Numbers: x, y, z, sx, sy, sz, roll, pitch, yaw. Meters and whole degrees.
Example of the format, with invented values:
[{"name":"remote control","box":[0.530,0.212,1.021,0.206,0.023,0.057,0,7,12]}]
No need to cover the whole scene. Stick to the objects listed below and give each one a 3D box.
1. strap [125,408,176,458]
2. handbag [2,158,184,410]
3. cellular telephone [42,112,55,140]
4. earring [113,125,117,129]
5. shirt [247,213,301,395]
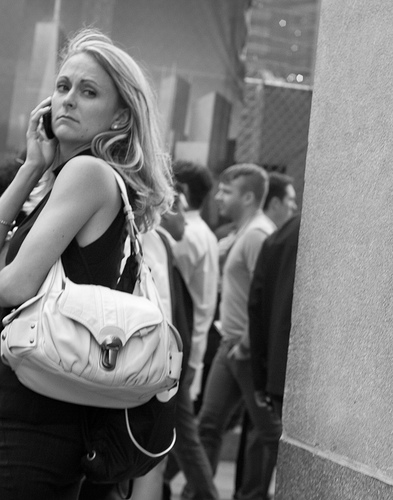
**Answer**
[{"name":"strap","box":[-0.106,0.333,1.174,0.078,0.112,0.023,1,-11,-26]},{"name":"handbag","box":[-0.173,0.110,1.158,0.307,0.546,0.243,9,-3,-6]},{"name":"cellular telephone","box":[-0.340,-0.285,1.419,0.015,0.060,0.036,-5,-3,-10]},{"name":"earring","box":[-0.173,-0.263,1.324,0.006,0.009,0.003,0,9,-31]},{"name":"shirt","box":[0.282,0.230,2.349,0.142,0.755,0.704,4,8,2]}]
